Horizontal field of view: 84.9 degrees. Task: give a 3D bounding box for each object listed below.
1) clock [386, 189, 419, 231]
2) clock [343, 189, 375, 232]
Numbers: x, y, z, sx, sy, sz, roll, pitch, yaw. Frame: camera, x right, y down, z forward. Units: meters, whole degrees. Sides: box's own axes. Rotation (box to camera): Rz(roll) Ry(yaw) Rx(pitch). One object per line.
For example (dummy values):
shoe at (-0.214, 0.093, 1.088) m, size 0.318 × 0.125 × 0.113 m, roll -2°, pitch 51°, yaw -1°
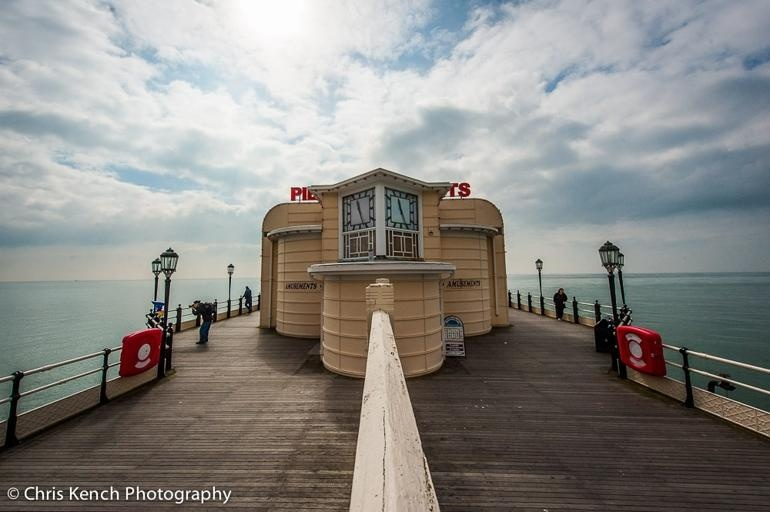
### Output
clock at (0.626, -1.900, 17.210) m, size 0.088 × 1.679 × 2.011 m, roll -15°, pitch 23°, yaw -40°
clock at (-0.984, -1.826, 17.172) m, size 0.040 × 1.776 × 1.896 m, roll 4°, pitch -10°, yaw -44°
